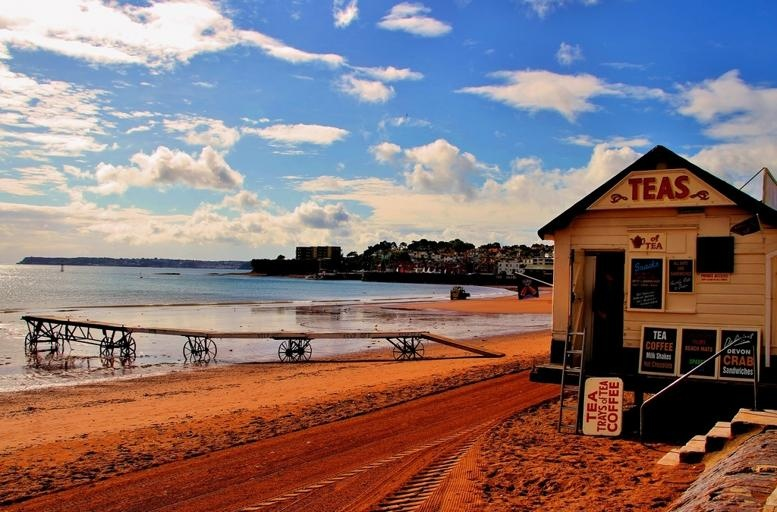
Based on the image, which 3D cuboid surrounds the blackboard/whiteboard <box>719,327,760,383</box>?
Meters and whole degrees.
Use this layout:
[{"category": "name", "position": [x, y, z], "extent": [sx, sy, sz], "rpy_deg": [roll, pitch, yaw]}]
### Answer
[{"category": "blackboard/whiteboard", "position": [8.501, 2.407, 14.699], "extent": [0.868, 1.229, 0.625], "rpy_deg": [-2, -2, 28]}]
